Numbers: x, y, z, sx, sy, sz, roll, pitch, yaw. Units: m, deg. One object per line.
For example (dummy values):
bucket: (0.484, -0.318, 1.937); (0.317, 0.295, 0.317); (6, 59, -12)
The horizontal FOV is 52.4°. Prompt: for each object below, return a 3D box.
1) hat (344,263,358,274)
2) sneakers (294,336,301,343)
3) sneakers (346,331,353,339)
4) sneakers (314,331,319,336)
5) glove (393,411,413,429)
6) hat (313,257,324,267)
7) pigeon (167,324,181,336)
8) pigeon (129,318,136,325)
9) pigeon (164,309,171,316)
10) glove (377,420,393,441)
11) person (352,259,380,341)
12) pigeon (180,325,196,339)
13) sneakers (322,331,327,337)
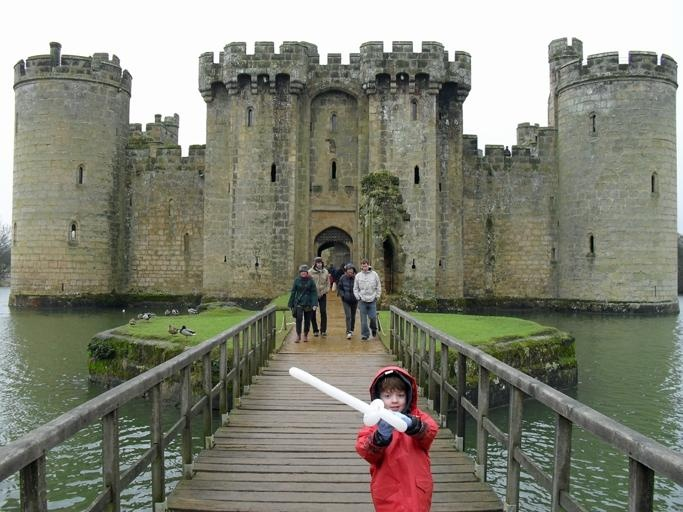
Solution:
hat: (0.275, 0.383, 17.915); (0.295, 0.350, 0.428); (2, 5, -5)
sneakers: (-1.133, 2.198, 18.105); (0.083, 0.184, 0.263); (-7, -24, 8)
sneakers: (0.219, 2.126, 18.624); (0.145, 0.190, 0.426); (-1, -11, 3)
sneakers: (-0.687, 2.131, 19.004); (0.084, 0.111, 0.247); (0, -11, -4)
glove: (0.770, 2.087, 8.661); (0.208, 0.117, 0.280); (26, -11, -9)
hat: (-0.595, 0.182, 18.391); (0.189, 0.249, 0.259); (-1, -9, -11)
pigeon: (-4.576, 2.001, 18.686); (0.207, 0.297, 0.303); (-1, -9, 5)
pigeon: (-6.282, 2.014, 20.810); (0.124, 0.236, 0.346); (0, -7, -7)
pigeon: (-7.911, 2.595, 31.648); (0.107, 0.268, 0.233); (-5, -6, 33)
glove: (0.553, 2.237, 8.868); (0.170, 0.239, 0.225); (3, -6, -30)
person: (0.660, 1.176, 18.008); (0.667, 1.411, 1.730); (-1, -1, 2)
pigeon: (-4.066, 2.049, 18.315); (0.208, 0.329, 0.548); (-15, -19, -31)
sneakers: (-0.474, 2.151, 18.978); (0.093, 0.091, 0.130); (2, 14, -2)
